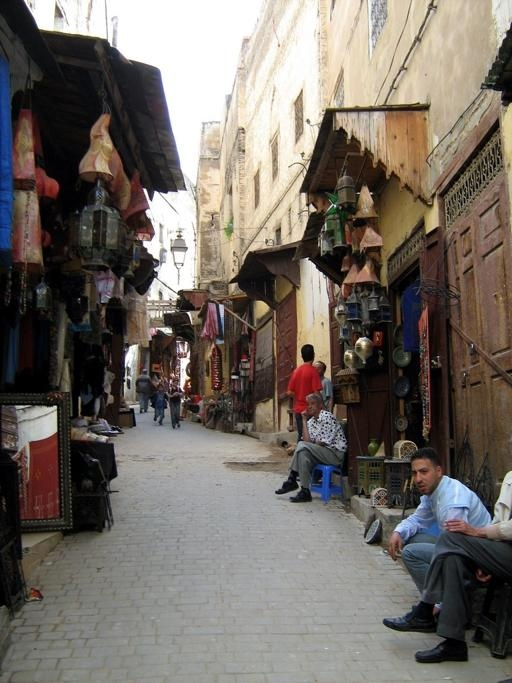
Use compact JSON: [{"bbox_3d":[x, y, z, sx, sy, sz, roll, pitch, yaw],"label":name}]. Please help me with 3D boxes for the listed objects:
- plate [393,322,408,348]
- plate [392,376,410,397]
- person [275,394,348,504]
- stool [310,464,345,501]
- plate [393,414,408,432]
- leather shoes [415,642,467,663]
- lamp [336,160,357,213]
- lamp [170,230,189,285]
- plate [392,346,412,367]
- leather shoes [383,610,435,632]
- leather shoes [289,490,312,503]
[{"bbox_3d":[1.561,-0.056,6.435,0.040,0.192,0.169,2,17,-22],"label":"plate"},{"bbox_3d":[1.536,0.482,6.234,0.038,0.193,0.176,3,16,-29],"label":"plate"},{"bbox_3d":[0.670,1.260,6.870,0.786,1.267,0.550,6,-3,-6],"label":"person"},{"bbox_3d":[0.820,1.690,6.947,0.379,0.405,0.384,2,-5,-39],"label":"stool"},{"bbox_3d":[1.502,0.867,6.125,0.037,0.160,0.150,4,23,-32],"label":"plate"},{"bbox_3d":[0.813,1.362,2.588,0.231,0.118,0.095,2,-14,3],"label":"leather shoes"},{"bbox_3d":[0.994,-1.693,6.460,0.165,0.486,0.172,-4,-9,-4],"label":"lamp"},{"bbox_3d":[-2.260,-2.503,17.046,0.465,1.708,0.495,5,-10,-31],"label":"lamp"},{"bbox_3d":[1.559,0.166,6.331,0.037,0.214,0.194,-3,-5,-21],"label":"plate"},{"bbox_3d":[0.772,1.423,2.986,0.267,0.132,0.108,4,-18,3],"label":"leather shoes"},{"bbox_3d":[0.484,1.777,6.679,0.260,0.139,0.108,7,-8,-29],"label":"leather shoes"}]
